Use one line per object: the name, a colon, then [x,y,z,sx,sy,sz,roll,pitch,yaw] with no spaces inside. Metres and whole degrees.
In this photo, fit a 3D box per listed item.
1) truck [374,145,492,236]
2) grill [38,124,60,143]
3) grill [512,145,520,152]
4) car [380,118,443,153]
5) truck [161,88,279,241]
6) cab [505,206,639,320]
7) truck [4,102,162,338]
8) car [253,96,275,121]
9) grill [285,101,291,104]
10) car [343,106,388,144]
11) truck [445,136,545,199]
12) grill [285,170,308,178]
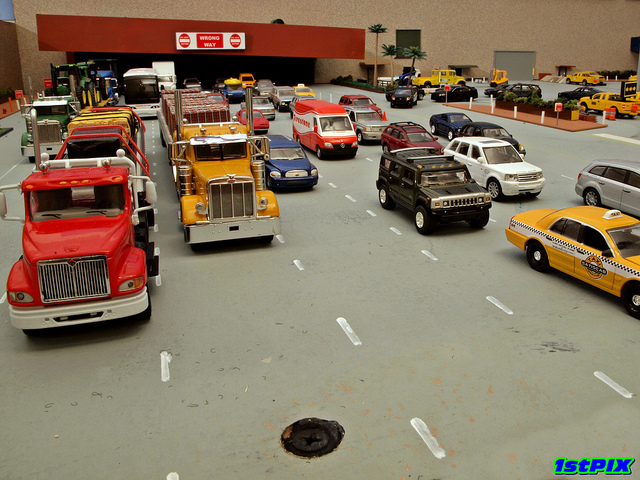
truck: [3.812,-1.836,17.625,2.376,2.138,4.469,-10,25,-18]
grill: [-13.396,-5.286,23.832,0.865,1.220,0.390,-13,18,-21]
grill: [9.143,-4.327,22.661,0.251,0.257,1.709,6,22,19]
car: [4.469,-5.219,24.495,1.901,1.778,3.944,-12,24,-17]
truck: [-3.561,-3.480,17.991,2.890,3.690,9.584,-8,31,-16]
cab: [6.940,0.244,12.659,1.738,1.508,4.209,-11,23,-23]
truck: [-5.707,-1.189,14.458,3.456,4.245,9.781,-2,20,-10]
car: [-4.282,-10.131,36.662,1.219,0.904,2.705,-3,23,-13]
grill: [-2.800,-11.638,40.603,0.701,0.205,0.498,-3,12,-5]
car: [2.443,-7.472,30.482,2.241,2.024,4.628,-9,26,-25]
truck: [7.168,-2.866,20.137,2.334,1.822,4.109,-10,28,-19]
grill: [-1.035,-2.805,20.146,0.947,0.304,0.154,-4,20,-7]
